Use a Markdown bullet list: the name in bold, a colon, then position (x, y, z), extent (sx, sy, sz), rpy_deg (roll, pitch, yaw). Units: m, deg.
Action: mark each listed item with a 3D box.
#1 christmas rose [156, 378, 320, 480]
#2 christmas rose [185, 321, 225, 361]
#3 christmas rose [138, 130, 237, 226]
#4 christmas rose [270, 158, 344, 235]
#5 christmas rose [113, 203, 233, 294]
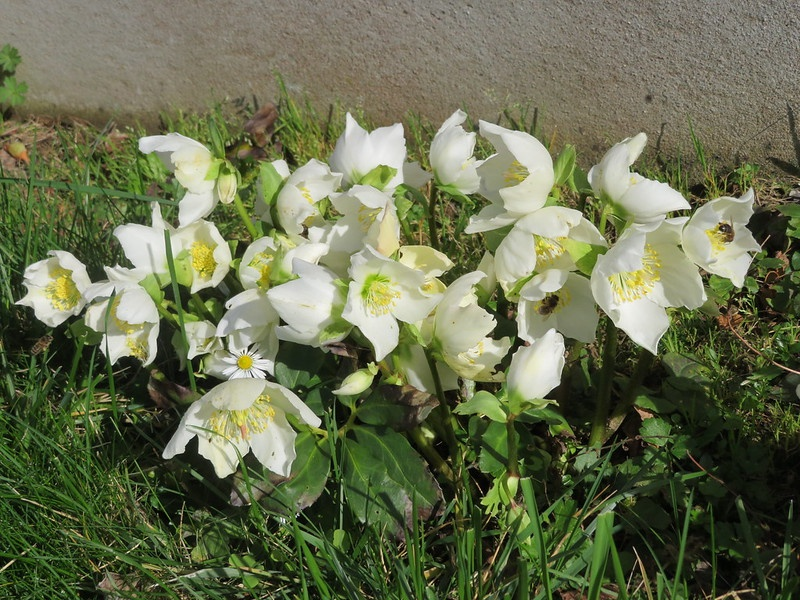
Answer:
- **christmas rose**: position (-0.409, 0.291, 1.755), extent (0.363, 0.230, 0.163), rpy_deg (-9, 84, -39)
- **christmas rose**: position (-0.580, 0.105, 1.989), extent (0.095, 0.053, 0.128), rpy_deg (-12, 93, -3)
- **christmas rose**: position (-0.576, -0.375, 1.853), extent (0.212, 0.118, 0.302), rpy_deg (-2, 103, 16)
- **christmas rose**: position (-0.271, -0.298, 1.891), extent (0.125, 0.193, 0.212), rpy_deg (28, 94, 1)
- **christmas rose**: position (-0.676, -0.126, 2.001), extent (0.283, 0.140, 0.281), rpy_deg (25, 68, -26)
